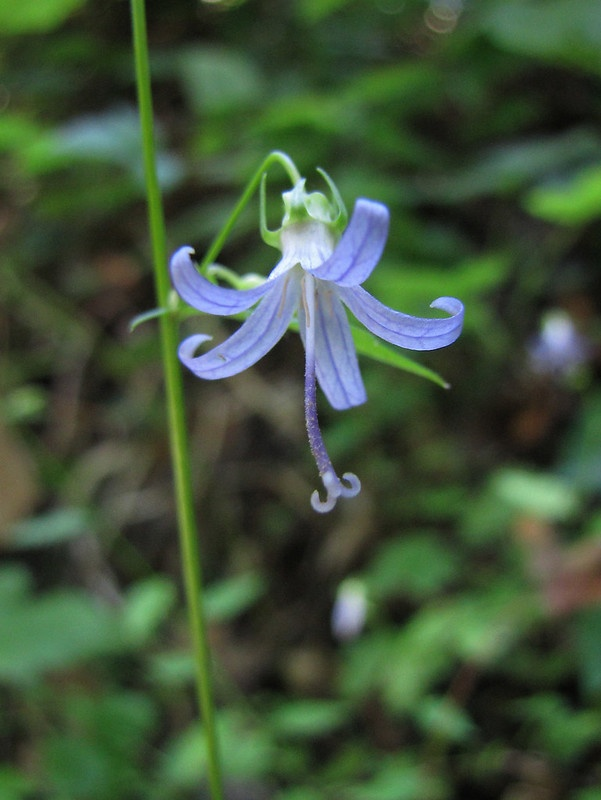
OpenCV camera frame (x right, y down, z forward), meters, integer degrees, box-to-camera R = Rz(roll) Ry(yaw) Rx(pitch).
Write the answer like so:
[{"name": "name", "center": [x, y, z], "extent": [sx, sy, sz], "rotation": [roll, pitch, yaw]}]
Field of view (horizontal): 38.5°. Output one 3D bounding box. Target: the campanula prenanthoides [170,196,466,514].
[{"name": "campanula prenanthoides", "center": [0.026, -0.082, 1.266], "extent": [0.472, 0.496, 0.493], "rotation": [-4, 80, 0]}]
